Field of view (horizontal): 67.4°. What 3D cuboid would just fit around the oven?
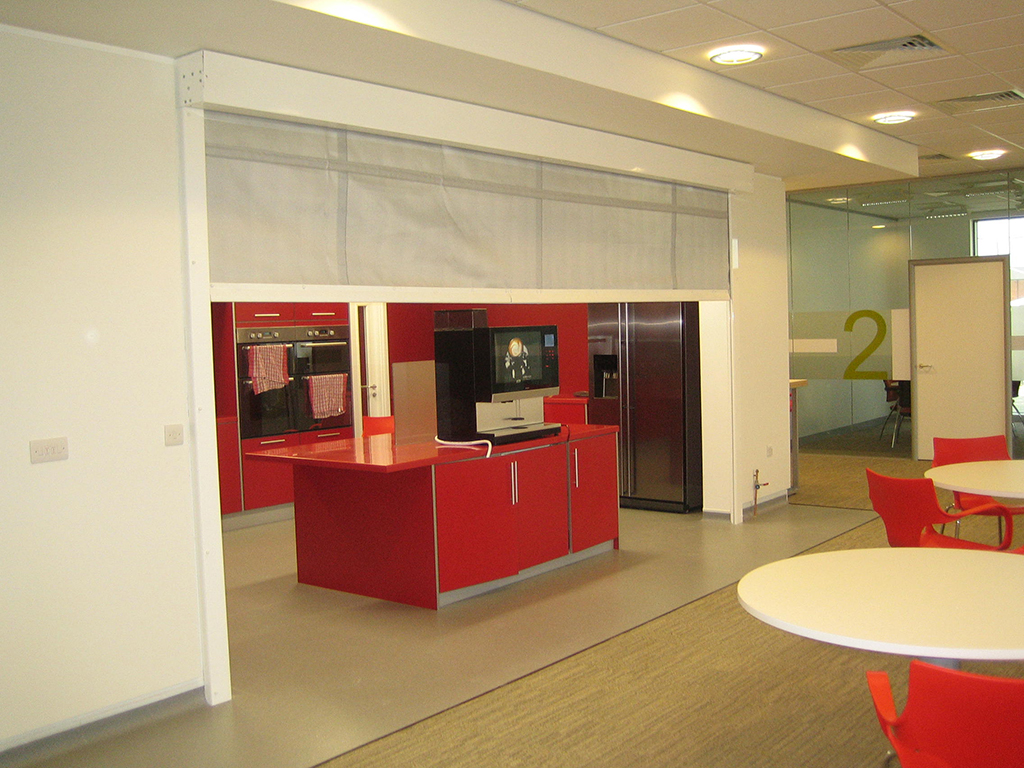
[{"bbox_3d":[-2.316,-0.042,7.917,0.422,0.948,1.123,-3,1,43],"label":"oven"}]

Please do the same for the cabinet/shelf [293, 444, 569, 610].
[{"bbox_3d":[-0.657,1.057,5.930,1.186,0.860,1.663,-1,1,35],"label":"cabinet/shelf"}]

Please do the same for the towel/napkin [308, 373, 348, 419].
[{"bbox_3d":[-1.986,0.122,8.183,0.052,0.336,0.480,3,5,40],"label":"towel/napkin"}]

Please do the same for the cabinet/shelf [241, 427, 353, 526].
[{"bbox_3d":[-1.947,0.817,6.772,1.037,0.594,0.350,-2,0,-45],"label":"cabinet/shelf"}]

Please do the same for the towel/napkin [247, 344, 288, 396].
[{"bbox_3d":[-2.497,-0.144,7.760,0.508,0.534,0.075,-4,3,-43],"label":"towel/napkin"}]

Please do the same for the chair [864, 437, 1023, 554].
[{"bbox_3d":[2.713,0.795,4.777,1.085,0.577,0.612,-6,7,-42],"label":"chair"}]
